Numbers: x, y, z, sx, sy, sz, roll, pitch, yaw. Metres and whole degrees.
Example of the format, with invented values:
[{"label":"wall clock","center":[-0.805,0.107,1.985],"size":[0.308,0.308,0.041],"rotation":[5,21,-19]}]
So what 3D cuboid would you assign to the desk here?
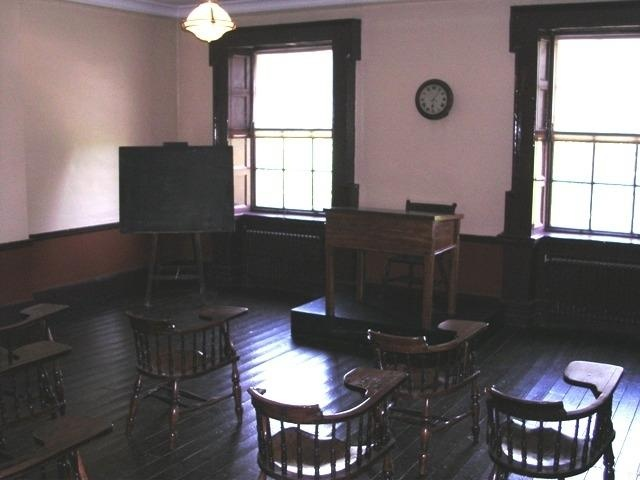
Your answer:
[{"label":"desk","center":[0.700,0.239,5.194],"size":[1.120,1.034,0.831],"rotation":[5,8,27]}]

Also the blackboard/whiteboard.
[{"label":"blackboard/whiteboard","center":[-1.696,-0.604,6.329],"size":[1.026,0.859,0.140],"rotation":[0,5,-2]}]

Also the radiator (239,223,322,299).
[{"label":"radiator","center":[-0.565,0.275,7.121],"size":[1.287,1.068,0.423],"rotation":[4,-11,-33]}]

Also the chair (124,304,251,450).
[{"label":"chair","center":[-1.090,0.785,4.286],"size":[0.858,0.921,1.726],"rotation":[-4,13,-18]}]
